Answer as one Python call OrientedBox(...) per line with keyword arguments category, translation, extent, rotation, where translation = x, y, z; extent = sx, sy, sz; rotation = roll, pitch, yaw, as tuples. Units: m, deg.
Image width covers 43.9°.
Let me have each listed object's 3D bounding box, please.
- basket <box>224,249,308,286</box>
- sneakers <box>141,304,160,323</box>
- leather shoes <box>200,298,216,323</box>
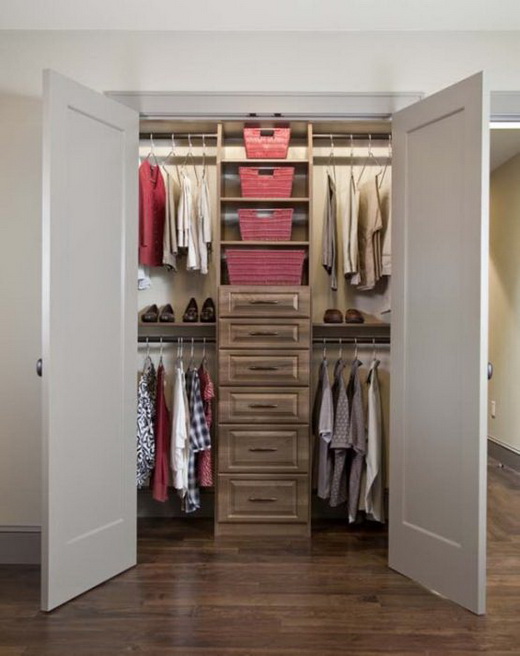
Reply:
OrientedBox(category="basket", translation=(0.031, -0.313, 3.360), extent=(0.276, 0.183, 0.233), rotation=(0, 2, -3))
OrientedBox(category="sneakers", translation=(-0.611, -0.095, 3.612), extent=(0.044, 0.067, 0.179), rotation=(-3, 18, -3))
OrientedBox(category="leather shoes", translation=(-0.282, -0.089, 3.528), extent=(0.044, 0.070, 0.190), rotation=(-1, 44, 1))
